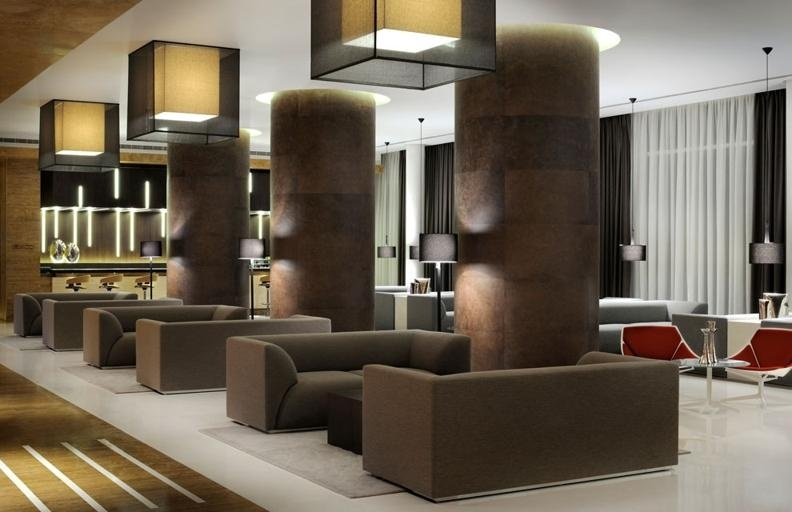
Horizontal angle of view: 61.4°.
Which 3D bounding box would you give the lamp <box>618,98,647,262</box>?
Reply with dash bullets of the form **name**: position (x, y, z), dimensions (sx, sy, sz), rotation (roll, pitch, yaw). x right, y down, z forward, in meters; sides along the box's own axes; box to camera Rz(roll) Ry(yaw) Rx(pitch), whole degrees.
- **lamp**: position (4.709, -1.435, 13.354), dimensions (0.449, 3.314, 1.234), rotation (-1, 9, 18)
